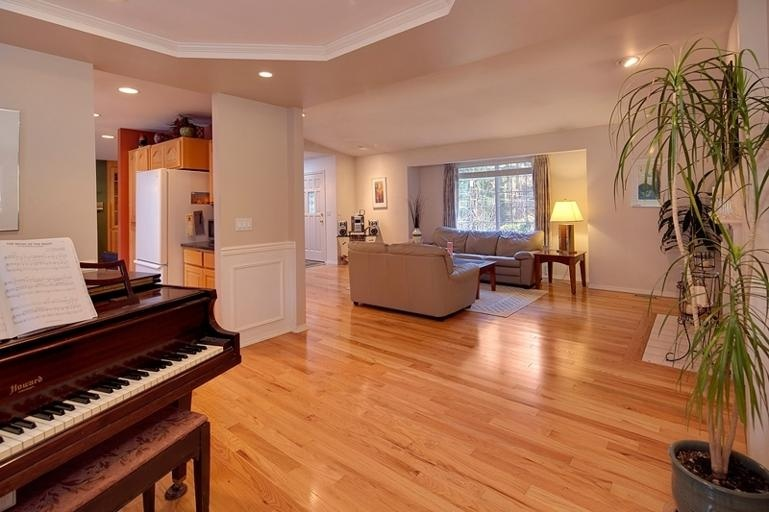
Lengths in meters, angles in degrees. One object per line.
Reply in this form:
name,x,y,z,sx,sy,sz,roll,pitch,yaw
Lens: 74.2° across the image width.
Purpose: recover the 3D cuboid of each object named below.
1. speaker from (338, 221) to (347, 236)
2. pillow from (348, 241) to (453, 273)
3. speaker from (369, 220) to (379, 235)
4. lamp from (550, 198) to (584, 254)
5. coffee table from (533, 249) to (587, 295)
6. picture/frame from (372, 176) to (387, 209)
speaker,-0.845,-0.573,10.525,0.198,0.308,0.084,-5,10,-26
pillow,0.159,-0.030,6.314,1.435,0.307,0.251,6,11,36
speaker,-0.209,-0.603,10.538,0.187,0.297,0.299,-1,9,-1
lamp,2.786,-0.469,7.798,0.425,0.763,0.962,2,9,19
coffee table,2.672,0.190,7.721,0.760,0.585,1.134,4,10,25
picture/frame,-0.088,-1.331,10.527,0.390,0.621,0.052,8,12,44
